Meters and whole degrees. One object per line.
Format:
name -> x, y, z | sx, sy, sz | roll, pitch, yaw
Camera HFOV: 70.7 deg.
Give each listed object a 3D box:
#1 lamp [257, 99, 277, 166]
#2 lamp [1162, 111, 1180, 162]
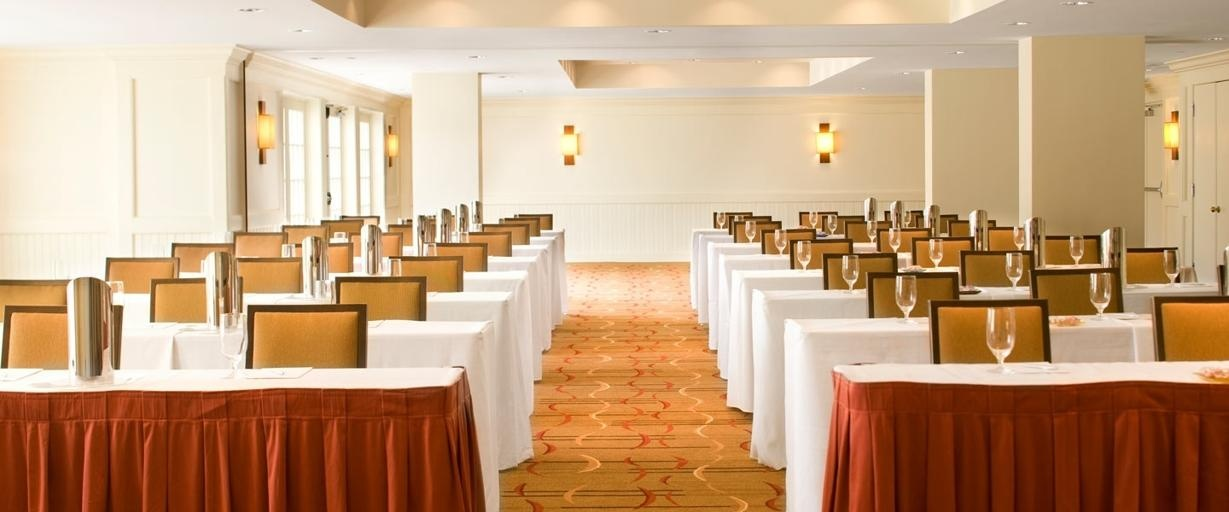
lamp -> -6.126, -2.171, 15.221 | 0.231, 1.089, 0.395 | -3, 1, 0
lamp -> 11.360, -2.472, 17.759 | 0.183, 1.027, 0.547 | -2, 1, 17
